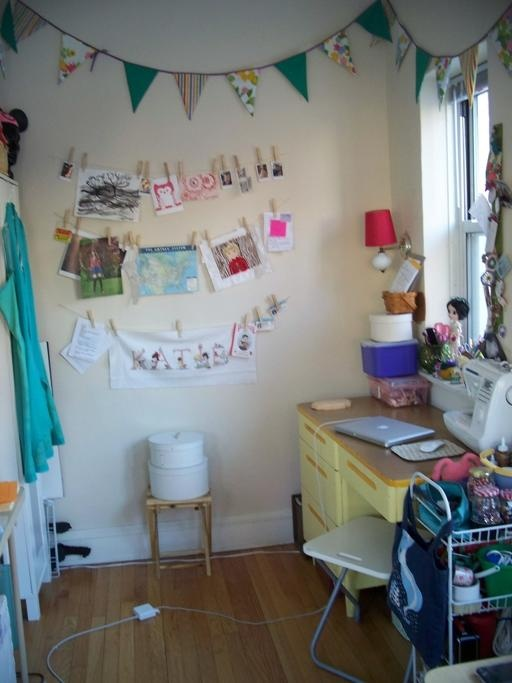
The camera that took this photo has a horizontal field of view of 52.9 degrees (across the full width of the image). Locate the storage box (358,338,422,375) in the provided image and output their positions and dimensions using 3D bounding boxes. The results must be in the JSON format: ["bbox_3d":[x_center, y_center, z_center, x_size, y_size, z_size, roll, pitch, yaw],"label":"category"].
[{"bbox_3d":[0.642,0.080,2.431,0.171,0.125,0.185,-3,4,4],"label":"storage box"}]

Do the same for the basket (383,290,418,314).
[{"bbox_3d":[0.677,-0.193,2.385,0.106,0.084,0.110,0,6,9],"label":"basket"}]

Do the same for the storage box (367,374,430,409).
[{"bbox_3d":[0.665,0.222,2.434,0.125,0.090,0.200,-3,5,-10],"label":"storage box"}]

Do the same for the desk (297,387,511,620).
[{"bbox_3d":[0.475,0.662,2.081,0.372,0.703,0.703,-10,16,-23],"label":"desk"}]

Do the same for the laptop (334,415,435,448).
[{"bbox_3d":[0.473,0.333,1.931,0.237,0.043,0.325,-5,3,-32],"label":"laptop"}]

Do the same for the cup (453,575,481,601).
[{"bbox_3d":[0.516,0.587,1.237,0.041,0.045,0.044,0,8,0],"label":"cup"}]

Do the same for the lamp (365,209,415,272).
[{"bbox_3d":[0.630,-0.489,2.499,0.202,0.286,0.243,-2,2,4],"label":"lamp"}]

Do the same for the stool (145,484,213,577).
[{"bbox_3d":[-0.375,0.895,2.483,0.333,0.384,0.288,-3,3,-7],"label":"stool"}]

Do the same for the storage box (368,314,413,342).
[{"bbox_3d":[0.641,-0.067,2.427,0.193,0.135,0.155,-2,3,18],"label":"storage box"}]

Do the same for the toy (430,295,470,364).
[{"bbox_3d":[0.830,-0.050,2.189,0.146,0.268,0.168,-1,3,24],"label":"toy"}]

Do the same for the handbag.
[{"bbox_3d":[0.420,0.613,1.311,0.079,0.332,0.279,-3,2,-4],"label":"handbag"}]

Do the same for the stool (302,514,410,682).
[{"bbox_3d":[0.348,0.883,1.740,0.271,0.409,0.529,10,3,24],"label":"stool"}]
